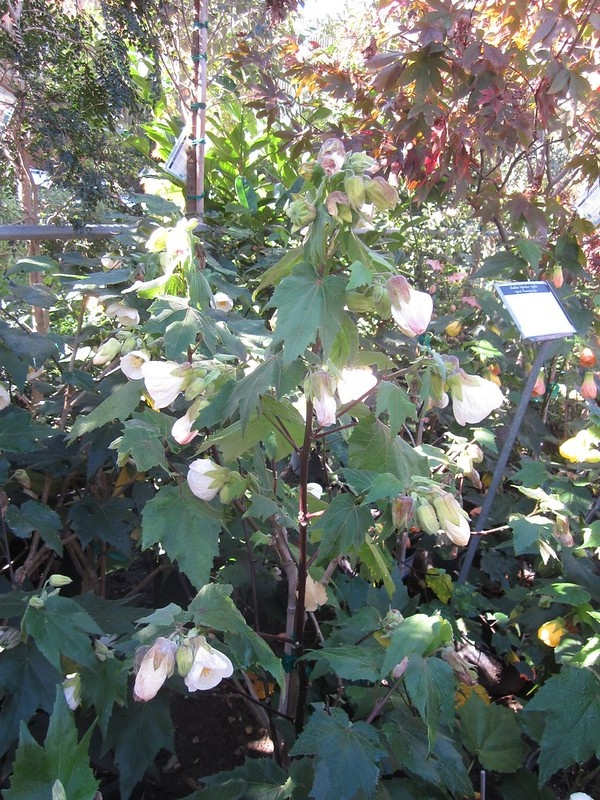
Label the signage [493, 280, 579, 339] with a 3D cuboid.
[{"bbox_3d":[0.678,-0.258,1.593,0.236,0.212,0.054,-9,-22,-29],"label":"signage"}]
